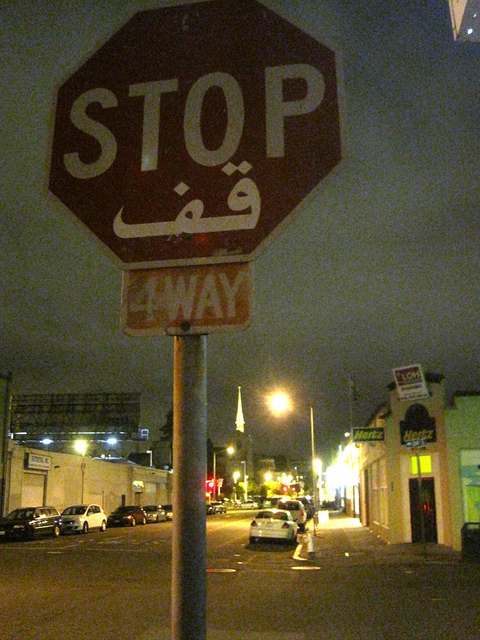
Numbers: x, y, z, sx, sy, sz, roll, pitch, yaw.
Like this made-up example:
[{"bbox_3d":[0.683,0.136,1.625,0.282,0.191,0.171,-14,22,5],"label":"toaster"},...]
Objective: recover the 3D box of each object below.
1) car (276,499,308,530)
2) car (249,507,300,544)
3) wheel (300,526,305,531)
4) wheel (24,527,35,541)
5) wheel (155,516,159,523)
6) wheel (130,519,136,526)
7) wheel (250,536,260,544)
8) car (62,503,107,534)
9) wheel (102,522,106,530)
[{"bbox_3d":[2.746,9.966,33.252,1.333,1.267,2.411,-1,-5,8],"label":"car"},{"bbox_3d":[1.297,7.884,24.250,1.640,1.282,1.598,5,-13,9],"label":"car"},{"bbox_3d":[3.275,10.822,33.241,0.216,0.256,0.707,5,-13,10],"label":"wheel"},{"bbox_3d":[-8.940,9.034,26.991,0.277,0.541,0.592,5,-13,9],"label":"wheel"},{"bbox_3d":[-6.032,14.406,46.202,0.134,0.408,0.417,6,-13,6],"label":"wheel"},{"bbox_3d":[-6.762,12.767,40.305,0.284,0.385,0.375,-3,-28,4],"label":"wheel"},{"bbox_3d":[0.561,8.232,23.936,0.358,0.297,0.813,7,-13,3],"label":"wheel"},{"bbox_3d":[-8.197,10.319,33.226,1.480,1.158,2.574,-6,-22,12],"label":"car"},{"bbox_3d":[-7.467,11.241,34.894,0.077,0.299,0.184,0,-10,23],"label":"wheel"}]
